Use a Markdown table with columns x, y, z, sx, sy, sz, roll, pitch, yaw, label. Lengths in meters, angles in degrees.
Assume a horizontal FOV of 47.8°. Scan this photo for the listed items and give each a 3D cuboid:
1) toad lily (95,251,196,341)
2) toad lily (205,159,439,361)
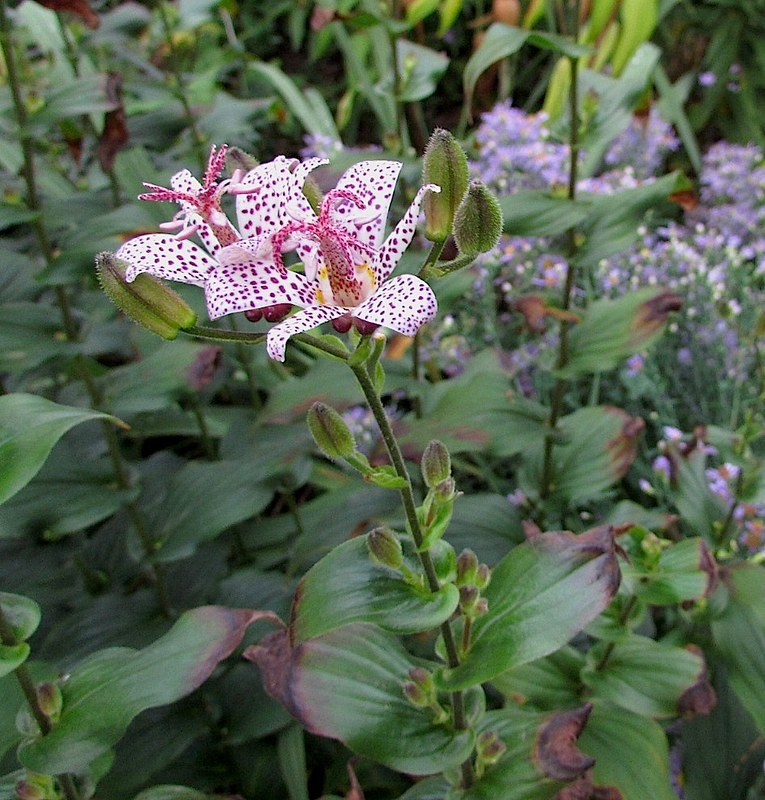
| x | y | z | sx | sy | sz | roll | pitch | yaw | label |
| --- | --- | --- | --- | --- | --- | --- | --- | --- | --- |
| -0.261 | -0.121 | 0.998 | 0.109 | 0.096 | 0.106 | -7 | 26 | -25 | toad lily |
| -0.070 | -0.160 | 0.908 | 0.273 | 0.130 | 0.244 | -7 | 71 | 0 | toad lily |
